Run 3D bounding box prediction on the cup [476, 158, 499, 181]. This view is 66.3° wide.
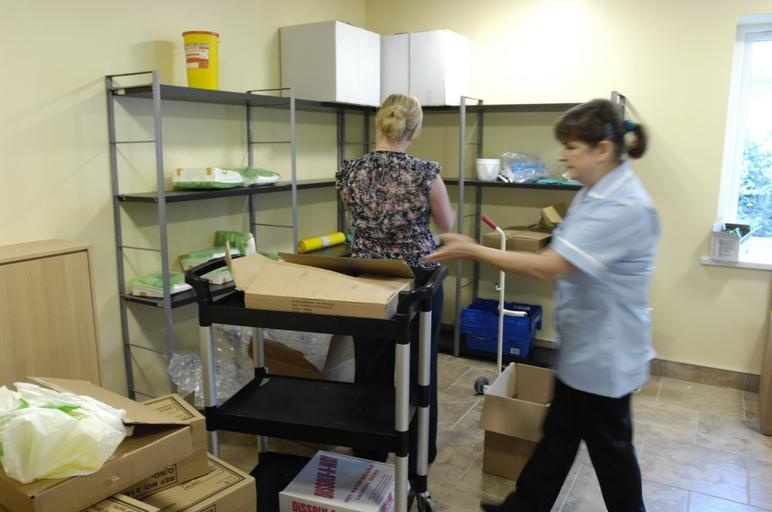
[{"bbox_3d":[0.822,-0.715,4.908,0.197,0.144,0.172,-13,21,-41],"label":"cup"}]

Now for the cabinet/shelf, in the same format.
[{"bbox_3d":[-0.508,0.021,3.455,0.440,1.549,2.741,4,10,35],"label":"cabinet/shelf"}]

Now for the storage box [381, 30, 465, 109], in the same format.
[{"bbox_3d":[0.340,-1.485,5.055,0.697,0.637,0.696,-9,11,-42],"label":"storage box"}]
